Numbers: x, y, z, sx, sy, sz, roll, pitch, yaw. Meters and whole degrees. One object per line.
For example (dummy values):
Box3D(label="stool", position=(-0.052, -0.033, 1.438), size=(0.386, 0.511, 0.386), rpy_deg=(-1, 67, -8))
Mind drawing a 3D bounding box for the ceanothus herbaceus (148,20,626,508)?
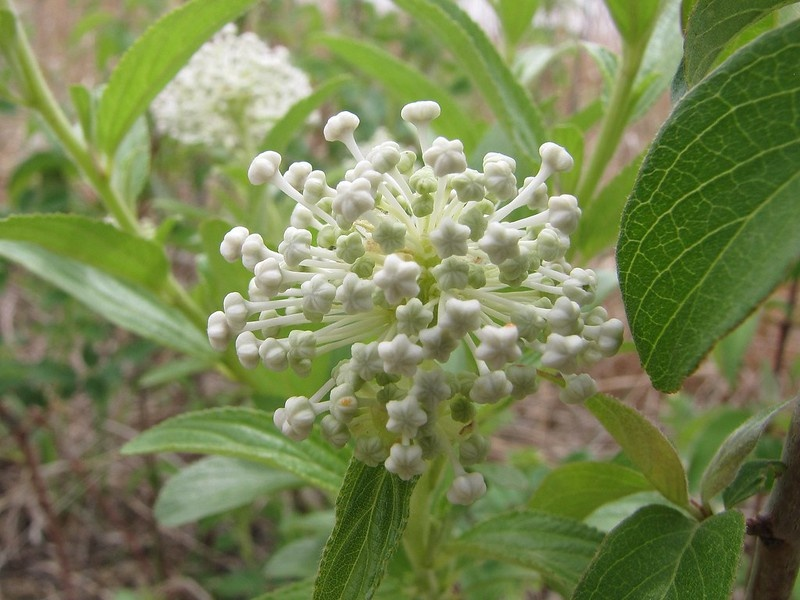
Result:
Box3D(label="ceanothus herbaceus", position=(0.019, -0.147, 1.514), size=(0.553, 0.433, 0.728), rpy_deg=(-28, 28, 21))
